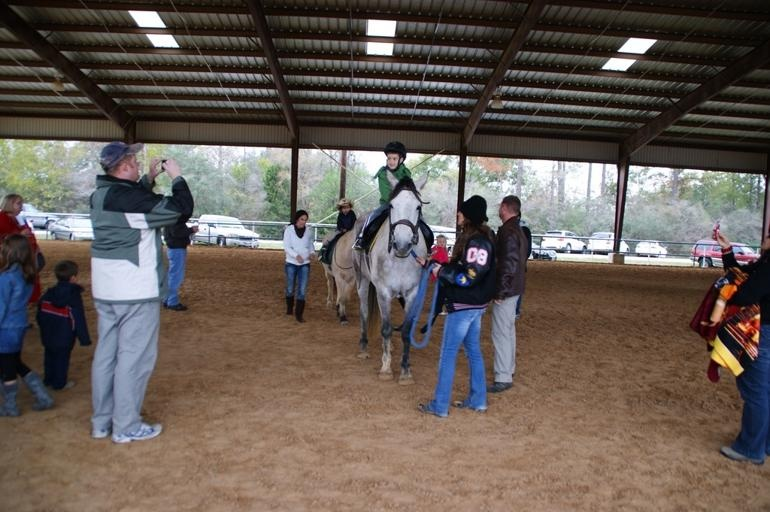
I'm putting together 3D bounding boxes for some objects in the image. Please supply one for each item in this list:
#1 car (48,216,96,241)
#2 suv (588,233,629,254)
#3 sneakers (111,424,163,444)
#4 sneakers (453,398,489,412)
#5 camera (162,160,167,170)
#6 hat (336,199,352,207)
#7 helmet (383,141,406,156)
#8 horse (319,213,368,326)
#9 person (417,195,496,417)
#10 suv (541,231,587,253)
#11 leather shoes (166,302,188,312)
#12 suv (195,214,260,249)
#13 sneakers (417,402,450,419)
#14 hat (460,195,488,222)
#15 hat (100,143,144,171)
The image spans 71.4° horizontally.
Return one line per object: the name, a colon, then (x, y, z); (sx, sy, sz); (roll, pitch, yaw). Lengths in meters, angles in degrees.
car: (-14.301, -1.227, 24.360); (1.851, 1.183, 3.193); (-1, -2, -41)
suv: (12.835, -0.716, 30.889); (2.627, 1.290, 1.543); (7, -6, -32)
sneakers: (-3.274, 2.282, 7.037); (0.540, 0.237, 0.244); (-9, 7, -24)
sneakers: (1.260, 2.190, 7.820); (0.488, 0.141, 0.192); (3, -1, 43)
camera: (-2.840, -1.175, 6.864); (0.059, 0.126, 0.191); (-1, 8, -27)
hat: (-0.919, -1.209, 12.242); (0.341, 0.216, 0.356); (3, 7, -4)
helmet: (0.167, -1.716, 8.575); (0.311, 0.211, 0.238); (2, 7, -7)
horse: (-0.884, 0.293, 11.658); (0.744, 2.325, 3.183); (1, 5, -15)
person: (1.087, 0.722, 7.551); (0.934, 3.147, 0.521); (2, 7, -8)
suv: (10.710, -0.817, 32.662); (1.976, 1.294, 3.689); (1, 1, 41)
leather shoes: (-4.539, 1.102, 11.719); (0.453, 0.202, 0.177); (2, 1, -6)
suv: (-8.297, -1.317, 27.611); (2.804, 1.360, 4.497); (-2, 9, -34)
sneakers: (0.690, 2.175, 7.727); (0.387, 0.167, 0.204); (14, 2, 24)
hat: (1.270, -0.646, 7.548); (0.290, 0.271, 0.406); (32, 8, 13)
hat: (-3.451, -1.364, 6.934); (0.521, 0.247, 0.337); (-32, 51, -23)
